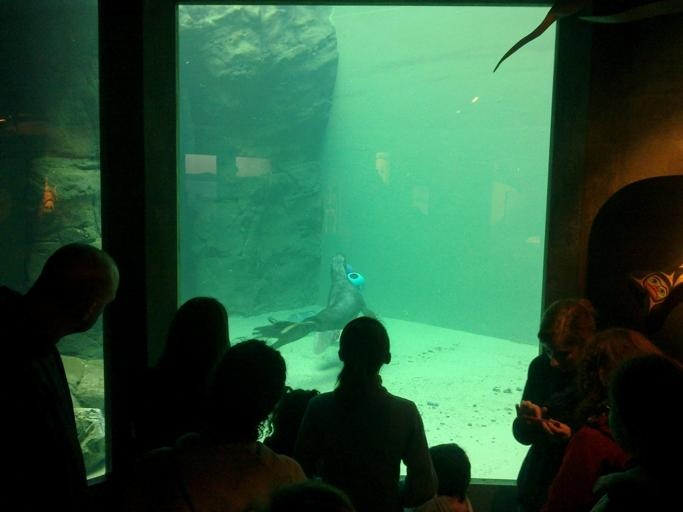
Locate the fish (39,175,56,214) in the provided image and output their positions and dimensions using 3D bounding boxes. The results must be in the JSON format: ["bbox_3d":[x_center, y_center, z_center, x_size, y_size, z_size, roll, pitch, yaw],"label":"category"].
[{"bbox_3d":[-2.313,-0.475,5.229,0.106,0.278,0.025,7,-8,-14],"label":"fish"}]

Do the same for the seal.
[{"bbox_3d":[-0.340,1.148,12.534,2.501,1.176,1.345,-34,21,-33],"label":"seal"}]
